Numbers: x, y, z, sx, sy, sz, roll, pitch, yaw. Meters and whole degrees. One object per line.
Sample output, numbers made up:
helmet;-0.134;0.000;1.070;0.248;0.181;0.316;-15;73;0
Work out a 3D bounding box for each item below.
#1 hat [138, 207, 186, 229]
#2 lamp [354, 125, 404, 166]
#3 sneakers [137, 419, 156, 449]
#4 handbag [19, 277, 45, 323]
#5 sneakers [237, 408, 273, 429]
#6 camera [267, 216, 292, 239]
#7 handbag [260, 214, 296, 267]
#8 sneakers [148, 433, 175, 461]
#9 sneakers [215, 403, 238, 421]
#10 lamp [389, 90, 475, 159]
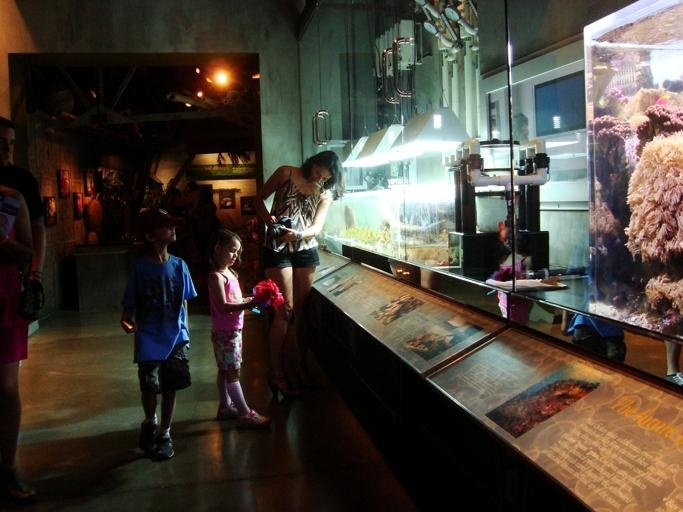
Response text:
hat;-1.069;-0.220;2.917;0.200;0.116;0.141;-14;7;3
lamp;0.262;-0.752;3.350;0.167;0.205;0.745;-3;5;-19
sneakers;-1.125;1.041;2.848;0.079;0.204;0.079;-2;1;-9
handbag;-1.579;0.222;2.515;0.048;0.210;0.152;-7;-6;27
sneakers;-0.542;1.029;3.119;0.179;0.098;0.096;1;2;2
camera;-0.414;-0.212;3.398;0.140;0.113;0.150;3;18;38
handbag;-0.455;-0.086;3.414;0.132;0.302;0.277;-2;4;-25
sneakers;-1.042;1.094;2.860;0.133;0.108;0.203;-5;6;-24
sneakers;-0.755;1.033;3.260;0.137;0.067;0.085;-5;1;14
lamp;0.455;-0.647;2.652;0.174;0.243;0.781;-3;6;-11
